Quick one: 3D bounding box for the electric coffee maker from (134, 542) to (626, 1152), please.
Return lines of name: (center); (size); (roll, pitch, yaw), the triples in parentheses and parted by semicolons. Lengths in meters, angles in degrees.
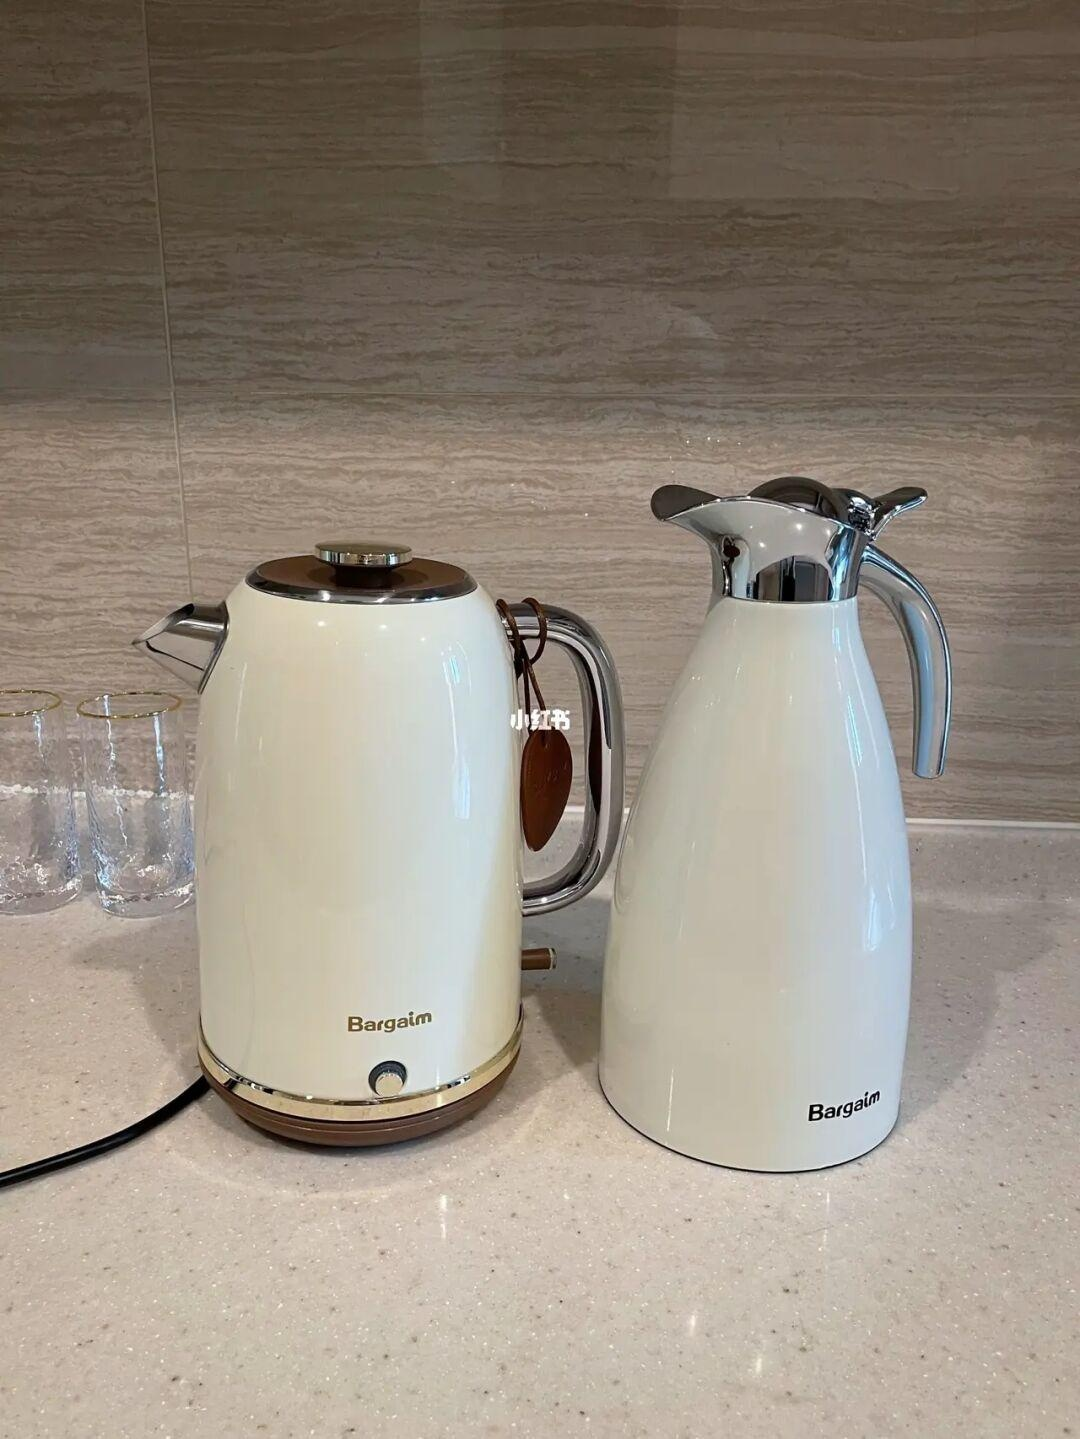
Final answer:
electric coffee maker: (-0.069, 0.052, 0.604); (0.218, 0.245, 0.152); (1, 11, -14)
